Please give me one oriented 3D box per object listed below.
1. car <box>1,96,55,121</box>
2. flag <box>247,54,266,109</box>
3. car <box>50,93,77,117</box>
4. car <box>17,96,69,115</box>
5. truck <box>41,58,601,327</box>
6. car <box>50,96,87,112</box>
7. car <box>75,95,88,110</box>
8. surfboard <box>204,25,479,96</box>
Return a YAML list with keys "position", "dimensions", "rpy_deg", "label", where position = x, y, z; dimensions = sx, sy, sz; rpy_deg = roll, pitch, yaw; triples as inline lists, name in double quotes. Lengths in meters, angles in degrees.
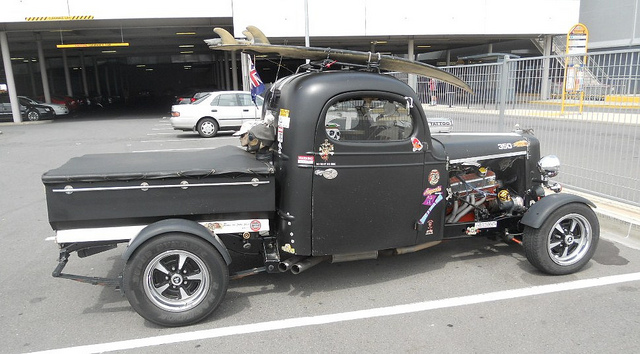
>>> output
- position: [-19.357, -4.525, 26.882]
  dimensions: [2.785, 1.052, 1.319]
  rpy_deg: [-5, 10, -21]
  label: "car"
- position: [-1.842, -2.772, 11.483]
  dimensions: [0.450, 1.645, 0.214]
  rpy_deg: [-7, 32, -8]
  label: "flag"
- position: [-21.541, -5.915, 34.184]
  dimensions: [2.030, 1.378, 4.381]
  rpy_deg: [-8, 22, -38]
  label: "car"
- position: [-20.693, -5.066, 29.264]
  dimensions: [3.953, 1.157, 1.537]
  rpy_deg: [7, 14, -4]
  label: "car"
- position: [0.673, 0.118, 8.185]
  dimensions: [10.470, 3.646, 4.342]
  rpy_deg: [-6, 14, -9]
  label: "truck"
- position: [-22.108, -6.442, 35.411]
  dimensions: [3.358, 1.043, 1.542]
  rpy_deg: [21, 22, 41]
  label: "car"
- position: [-23.293, -7.176, 38.832]
  dimensions: [1.665, 1.406, 1.221]
  rpy_deg: [-6, 17, -26]
  label: "car"
- position: [1.207, -2.100, 7.239]
  dimensions: [6.167, 0.766, 1.481]
  rpy_deg: [3, 3, -8]
  label: "surfboard"
